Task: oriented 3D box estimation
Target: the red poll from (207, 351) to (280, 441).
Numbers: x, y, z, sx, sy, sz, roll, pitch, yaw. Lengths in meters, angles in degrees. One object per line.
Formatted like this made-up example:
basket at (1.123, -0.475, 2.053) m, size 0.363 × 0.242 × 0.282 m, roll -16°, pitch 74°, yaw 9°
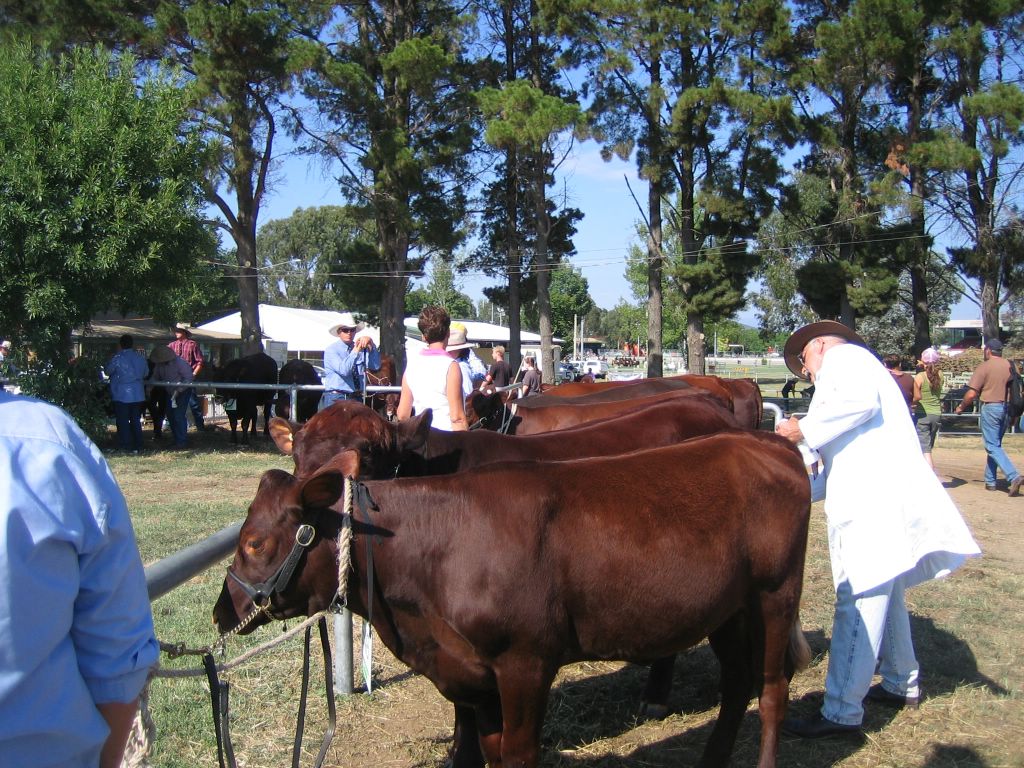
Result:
red poll at (-4.513, 0.171, 18.993) m, size 0.670 × 1.421 × 2.315 m, roll -11°, pitch 1°, yaw 10°

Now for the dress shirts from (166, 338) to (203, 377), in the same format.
dress shirts at (-5.822, -0.440, 18.834) m, size 0.680 × 0.873 × 0.454 m, roll -1°, pitch -2°, yaw -15°

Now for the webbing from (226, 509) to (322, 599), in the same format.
webbing at (-1.468, 1.096, 6.465) m, size 0.563 × 0.454 × 0.083 m, roll -5°, pitch 4°, yaw 1°

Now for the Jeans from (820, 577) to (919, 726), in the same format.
Jeans at (2.636, 1.997, 7.804) m, size 0.726 × 1.149 × 0.383 m, roll -10°, pitch 16°, yaw -26°

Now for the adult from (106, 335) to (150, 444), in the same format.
adult at (-6.214, 0.150, 17.040) m, size 0.536 × 1.886 × 0.576 m, roll 8°, pitch 10°, yaw 37°

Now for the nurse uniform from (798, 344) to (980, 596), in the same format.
nurse uniform at (2.611, 0.667, 7.894) m, size 1.006 × 2.507 × 0.948 m, roll 0°, pitch -13°, yaw -18°

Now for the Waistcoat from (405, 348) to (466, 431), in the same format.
Waistcoat at (-0.633, 0.066, 8.605) m, size 0.488 × 0.804 × 0.381 m, roll -3°, pitch -4°, yaw 17°

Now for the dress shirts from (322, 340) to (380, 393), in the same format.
dress shirts at (-2.180, -0.239, 14.432) m, size 0.647 × 0.904 × 0.646 m, roll -1°, pitch 1°, yaw -6°

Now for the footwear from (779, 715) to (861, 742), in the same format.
footwear at (2.211, 2.489, 7.687) m, size 0.560 × 0.281 × 0.218 m, roll 4°, pitch -15°, yaw 6°

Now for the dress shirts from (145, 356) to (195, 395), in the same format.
dress shirts at (-5.754, -0.119, 17.860) m, size 0.686 × 0.455 × 1.439 m, roll -7°, pitch 4°, yaw -19°

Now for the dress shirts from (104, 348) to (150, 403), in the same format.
dress shirts at (-6.129, -0.160, 16.966) m, size 0.450 × 0.879 × 0.622 m, roll 13°, pitch 16°, yaw 42°
